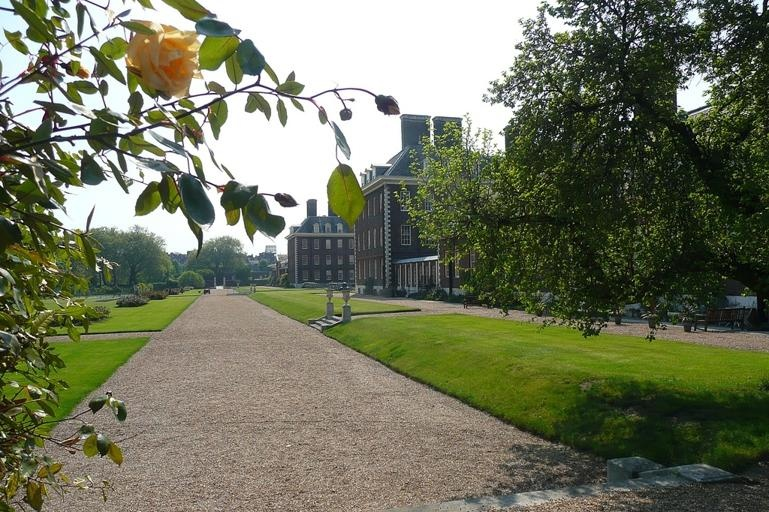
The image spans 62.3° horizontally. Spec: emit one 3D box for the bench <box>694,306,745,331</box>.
[{"bbox_3d":[12.100,2.229,22.747,1.577,0.820,3.310,0,-5,28],"label":"bench"}]
